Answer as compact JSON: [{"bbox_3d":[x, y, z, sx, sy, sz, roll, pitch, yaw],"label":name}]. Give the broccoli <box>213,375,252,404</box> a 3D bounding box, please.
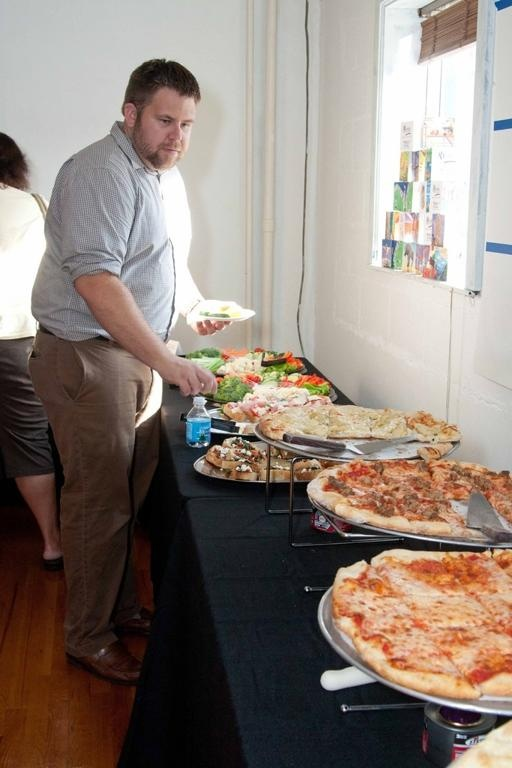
[{"bbox_3d":[-0.090,0.017,2.083,0.088,0.047,0.116,-5,23,-7],"label":"broccoli"}]
